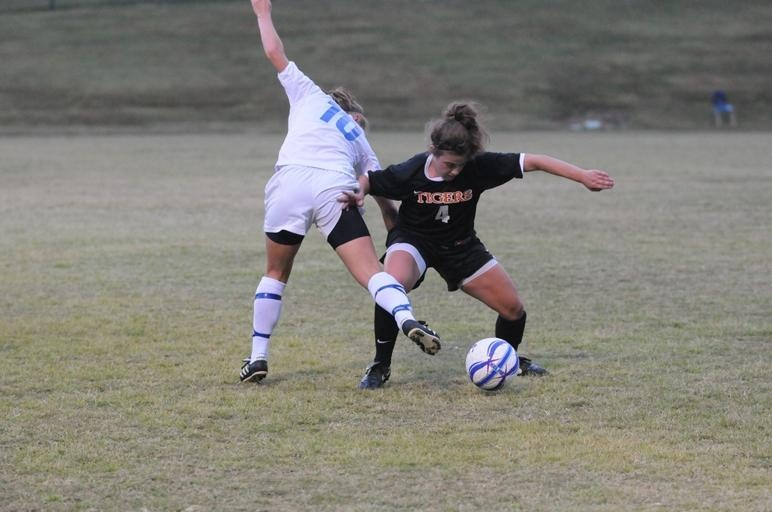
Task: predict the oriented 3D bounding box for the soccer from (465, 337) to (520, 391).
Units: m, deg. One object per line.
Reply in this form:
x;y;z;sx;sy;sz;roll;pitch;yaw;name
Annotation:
1.702;1.691;24.808;0.982;0.802;0.850;7;-14;9;soccer

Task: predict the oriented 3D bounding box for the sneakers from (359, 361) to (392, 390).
-0.192;1.937;25.037;0.289;0.590;0.250;47;-12;-1;sneakers
